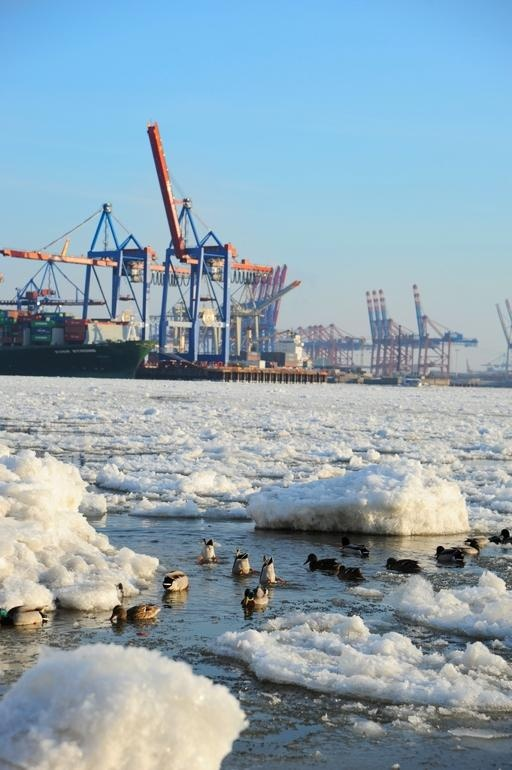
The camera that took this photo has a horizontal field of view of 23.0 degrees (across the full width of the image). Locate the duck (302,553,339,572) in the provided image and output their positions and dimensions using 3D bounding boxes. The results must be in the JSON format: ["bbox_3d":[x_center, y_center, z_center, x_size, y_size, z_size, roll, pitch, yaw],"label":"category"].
[{"bbox_3d":[0.562,1.580,11.318,0.315,0.214,0.127,-3,-6,41],"label":"duck"}]

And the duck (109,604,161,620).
[{"bbox_3d":[-0.885,1.641,9.138,0.294,0.129,0.136,-2,10,-6],"label":"duck"}]

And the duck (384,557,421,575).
[{"bbox_3d":[1.296,1.611,11.318,0.360,0.224,0.116,-5,-7,41],"label":"duck"}]

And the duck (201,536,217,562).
[{"bbox_3d":[-0.447,1.482,11.472,0.087,0.242,0.115,3,1,-21],"label":"duck"}]

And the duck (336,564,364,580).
[{"bbox_3d":[0.767,1.623,10.939,0.102,0.122,0.183,-26,17,-28],"label":"duck"}]

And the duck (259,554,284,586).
[{"bbox_3d":[0.101,1.527,10.595,0.126,0.195,0.308,-1,22,1],"label":"duck"}]
